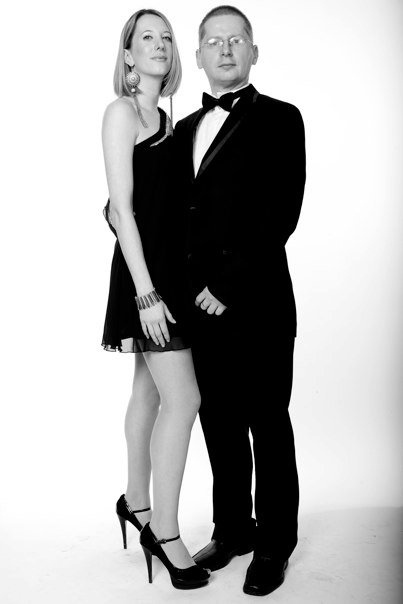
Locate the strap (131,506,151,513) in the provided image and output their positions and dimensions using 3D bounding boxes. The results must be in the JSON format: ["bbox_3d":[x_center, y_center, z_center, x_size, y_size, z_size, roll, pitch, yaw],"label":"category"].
[{"bbox_3d":[-0.200,0.691,1.965,0.060,0.013,0.010,-1,-3,-17],"label":"strap"}]

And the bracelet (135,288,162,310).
[{"bbox_3d":[-0.148,-0.006,1.635,0.053,0.033,0.057,-29,6,-14],"label":"bracelet"}]

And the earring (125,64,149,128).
[{"bbox_3d":[-0.187,-0.585,1.684,0.041,0.210,0.019,0,-26,-26],"label":"earring"}]

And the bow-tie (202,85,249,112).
[{"bbox_3d":[0.061,-0.604,1.790,0.161,0.084,0.040,-4,-3,37],"label":"bow-tie"}]

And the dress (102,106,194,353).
[{"bbox_3d":[-0.159,-0.221,1.716,0.251,0.729,0.179,-1,-3,-4],"label":"dress"}]

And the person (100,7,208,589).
[{"bbox_3d":[-0.156,0.011,1.818,0.308,1.711,0.510,-1,-3,0],"label":"person"}]
